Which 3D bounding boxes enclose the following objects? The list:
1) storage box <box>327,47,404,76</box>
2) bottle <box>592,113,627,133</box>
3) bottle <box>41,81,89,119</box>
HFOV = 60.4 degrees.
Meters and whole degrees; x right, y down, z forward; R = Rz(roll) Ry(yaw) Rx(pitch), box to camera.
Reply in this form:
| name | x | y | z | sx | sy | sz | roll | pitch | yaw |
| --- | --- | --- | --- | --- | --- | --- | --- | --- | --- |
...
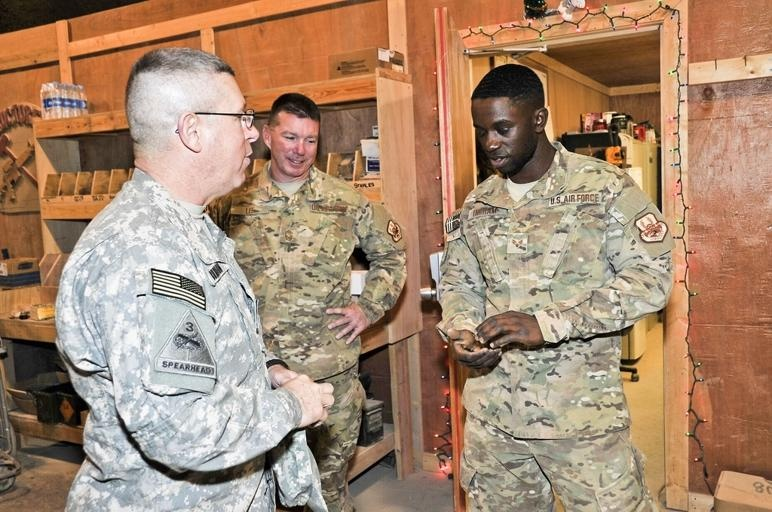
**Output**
| name | x | y | z | sx | sy | sz | roll | pitch | yaw |
| --- | --- | --- | --- | --- | --- | --- | --- | --- | --- |
| storage box | -0.162 | -1.205 | 4.258 | 0.286 | 0.127 | 0.283 | -1 | 4 | 36 |
| bottle | 2.231 | -1.294 | 6.455 | 0.301 | 0.127 | 0.382 | -2 | 2 | 2 |
| bottle | -2.527 | -1.210 | 5.195 | 0.427 | 0.356 | 0.222 | -6 | 16 | -43 |
